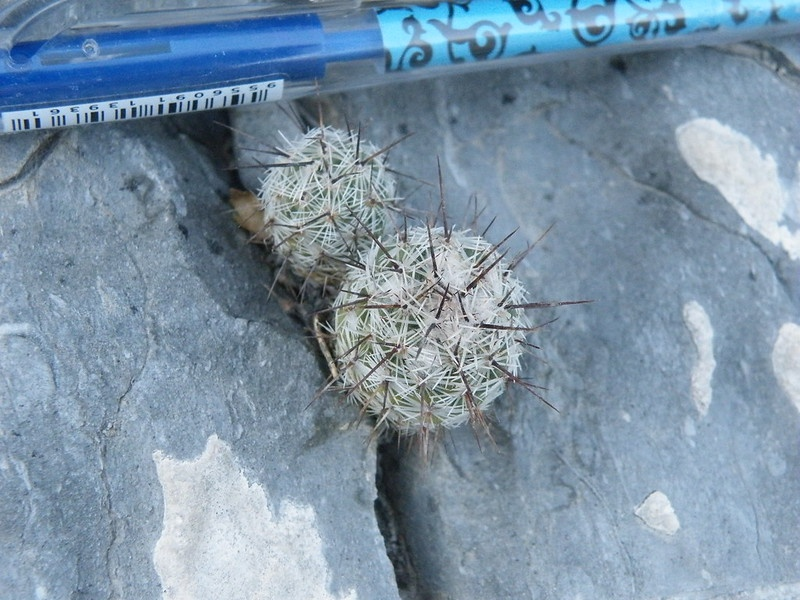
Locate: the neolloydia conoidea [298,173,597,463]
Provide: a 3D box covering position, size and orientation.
[{"bbox_3d":[0.041,0.051,2.177,0.528,0.457,0.488,26,78,5],"label":"neolloydia conoidea"}]

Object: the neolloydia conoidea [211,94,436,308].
[{"bbox_3d":[-0.199,-0.256,2.467,0.484,0.415,0.608,-2,84,16],"label":"neolloydia conoidea"}]
